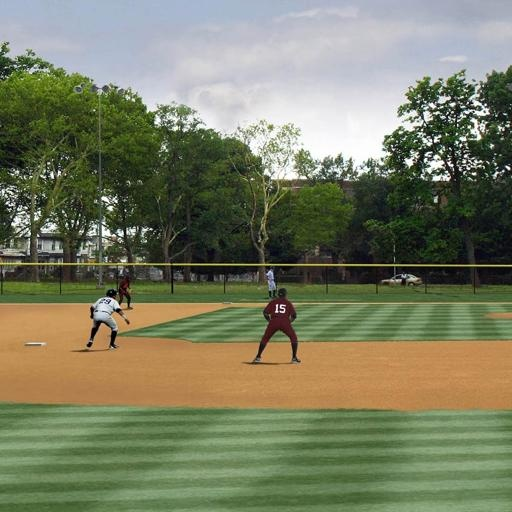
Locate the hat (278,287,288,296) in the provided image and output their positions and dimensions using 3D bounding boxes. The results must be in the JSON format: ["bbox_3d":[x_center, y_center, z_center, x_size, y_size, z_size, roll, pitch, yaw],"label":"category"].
[{"bbox_3d":[0.518,0.761,16.963,0.152,0.148,0.177,1,8,8],"label":"hat"}]

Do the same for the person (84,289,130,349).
[{"bbox_3d":[-3.706,1.541,20.276,0.752,1.465,1.578,-1,-4,-12],"label":"person"}]

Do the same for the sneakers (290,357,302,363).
[{"bbox_3d":[0.885,2.258,18.122,0.288,0.157,0.095,-5,13,-16],"label":"sneakers"}]

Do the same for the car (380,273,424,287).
[{"bbox_3d":[11.380,1.944,65.488,2.793,0.738,1.112,1,0,9],"label":"car"}]

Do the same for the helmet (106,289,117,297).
[{"bbox_3d":[-3.512,0.893,20.058,0.203,0.204,0.241,7,12,24],"label":"helmet"}]
